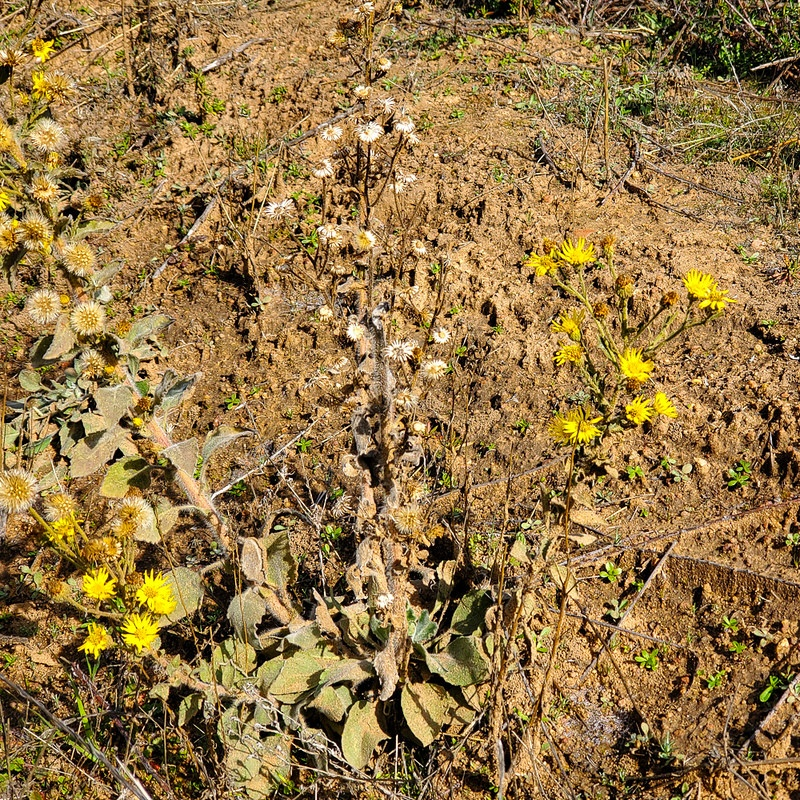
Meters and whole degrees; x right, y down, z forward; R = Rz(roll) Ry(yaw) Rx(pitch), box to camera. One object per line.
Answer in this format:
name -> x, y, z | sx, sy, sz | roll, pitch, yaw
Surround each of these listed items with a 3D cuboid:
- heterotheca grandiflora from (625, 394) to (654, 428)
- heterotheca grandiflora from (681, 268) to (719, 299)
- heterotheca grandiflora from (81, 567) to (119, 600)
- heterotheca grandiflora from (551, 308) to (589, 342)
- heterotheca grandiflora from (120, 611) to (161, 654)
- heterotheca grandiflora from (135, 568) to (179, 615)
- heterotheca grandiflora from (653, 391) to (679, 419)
heterotheca grandiflora -> 1.051, 0.044, 4.282 | 0.111, 0.051, 0.153 | 3, 68, 7
heterotheca grandiflora -> 1.383, -0.532, 4.463 | 0.139, 0.068, 0.168 | 22, 56, -5
heterotheca grandiflora -> -1.203, 0.747, 3.900 | 0.121, 0.050, 0.143 | -25, 82, -32
heterotheca grandiflora -> 0.832, -0.361, 4.697 | 0.157, 0.083, 0.161 | -32, 68, -8
heterotheca grandiflora -> -1.094, 0.968, 4.002 | 0.143, 0.060, 0.174 | 1, 73, -38
heterotheca grandiflora -> -1.032, 0.772, 4.055 | 0.061, 0.168, 0.195 | -23, 50, 38
heterotheca grandiflora -> 1.231, 0.028, 4.475 | 0.035, 0.091, 0.096 | -27, 53, 11
